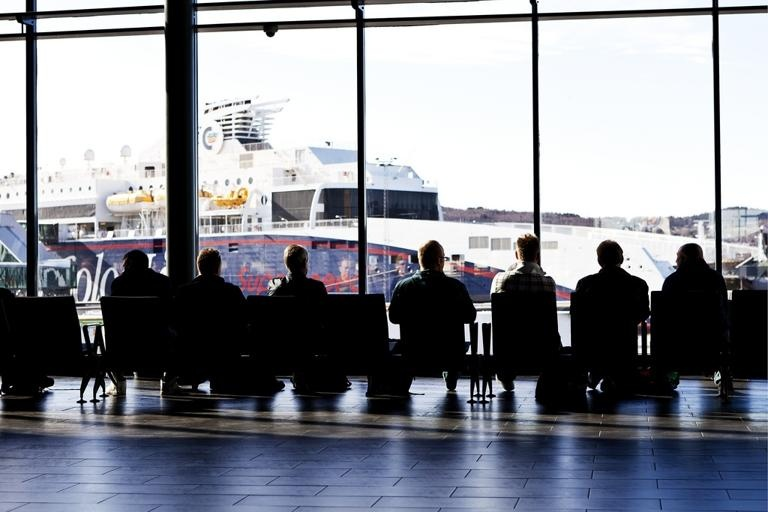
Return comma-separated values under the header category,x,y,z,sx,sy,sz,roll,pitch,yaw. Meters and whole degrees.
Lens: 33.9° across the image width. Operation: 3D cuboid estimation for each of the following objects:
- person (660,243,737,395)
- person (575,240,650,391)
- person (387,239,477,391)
category,x,y,z,sx,sy,sz,roll,pitch,yaw
person,3.402,0.803,13.758,0.777,1.507,0.745,2,13,13
person,2.447,0.654,13.712,0.829,1.435,0.463,1,13,7
person,0.512,0.758,13.765,0.746,1.763,0.700,-9,15,-30
